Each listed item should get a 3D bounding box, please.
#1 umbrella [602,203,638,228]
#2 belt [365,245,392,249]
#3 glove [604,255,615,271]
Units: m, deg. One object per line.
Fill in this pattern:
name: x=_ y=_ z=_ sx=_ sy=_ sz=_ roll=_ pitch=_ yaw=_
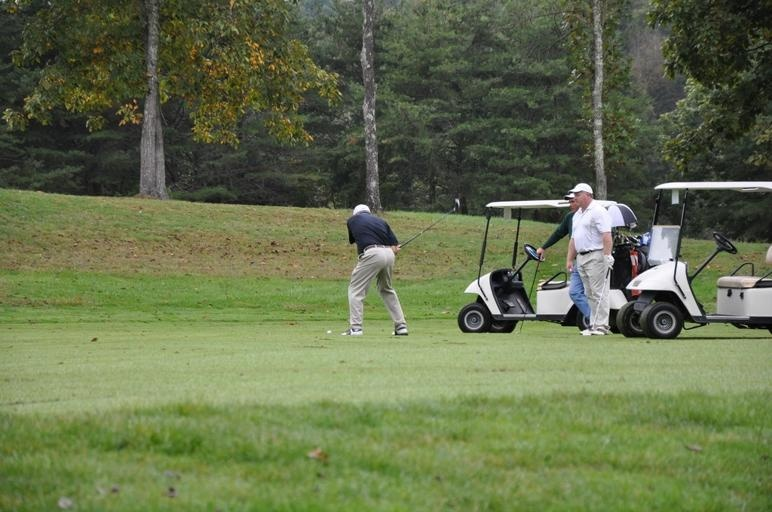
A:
umbrella: x=7.216 y=-1.276 z=38.471 sx=0.833 sy=0.355 sz=0.832 roll=-3 pitch=14 yaw=-10
belt: x=-0.233 y=-0.273 z=37.193 sx=0.694 sy=0.113 sz=0.106 roll=0 pitch=0 yaw=-11
glove: x=6.608 y=0.188 z=37.037 sx=0.354 sy=0.525 sz=0.438 roll=0 pitch=7 yaw=11
